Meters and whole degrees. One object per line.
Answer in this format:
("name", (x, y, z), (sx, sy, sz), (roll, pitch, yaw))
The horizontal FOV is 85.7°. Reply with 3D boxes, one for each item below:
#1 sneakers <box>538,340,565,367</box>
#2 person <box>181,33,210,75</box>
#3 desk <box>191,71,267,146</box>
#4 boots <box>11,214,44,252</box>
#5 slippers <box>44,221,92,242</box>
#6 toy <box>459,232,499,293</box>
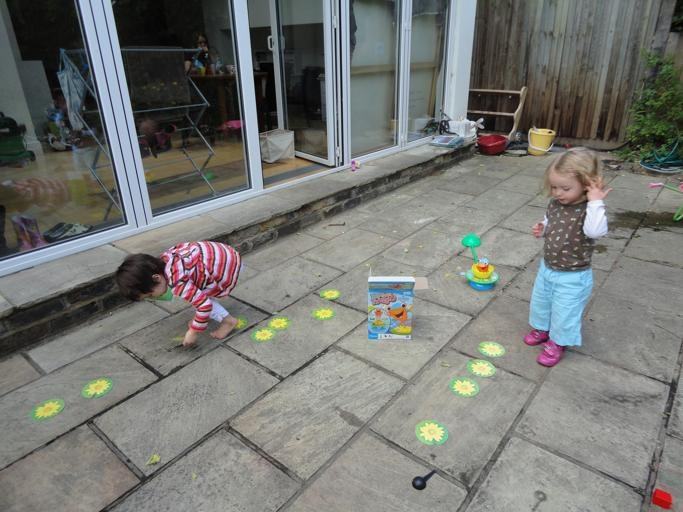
("sneakers", (1.446, 0.683, 2.676), (0.272, 0.102, 0.119), (-17, 31, -35))
("person", (-1.867, -2.596, 4.805), (0.296, 0.458, 1.246), (-10, 27, -13))
("desk", (-1.480, -2.006, 4.930), (1.041, 0.702, 0.944), (-29, 30, -27))
("boots", (-2.980, -0.233, 3.541), (0.210, 0.286, 0.307), (-22, 34, -31))
("slippers", (-2.755, -0.235, 3.749), (0.215, 0.087, 0.289), (16, 25, 40))
("toy", (1.249, 0.017, 3.555), (0.405, 0.262, 0.628), (-9, 39, 3))
